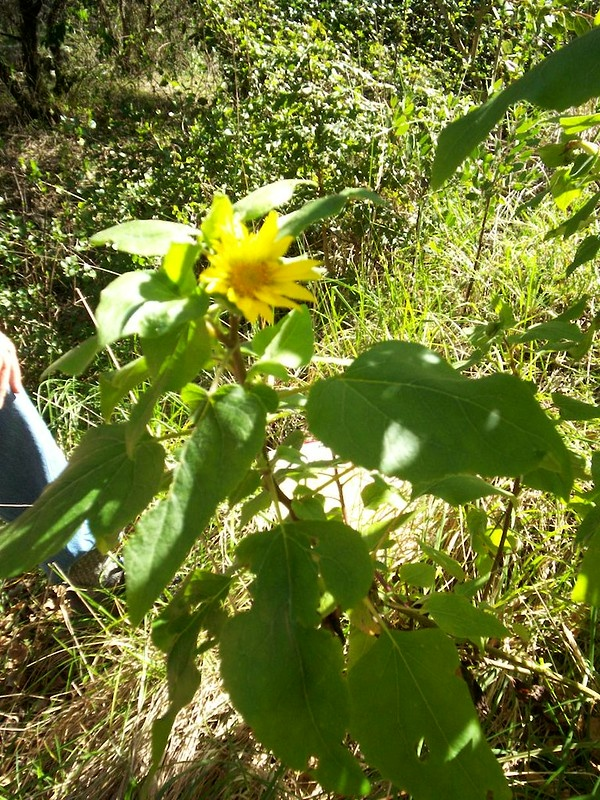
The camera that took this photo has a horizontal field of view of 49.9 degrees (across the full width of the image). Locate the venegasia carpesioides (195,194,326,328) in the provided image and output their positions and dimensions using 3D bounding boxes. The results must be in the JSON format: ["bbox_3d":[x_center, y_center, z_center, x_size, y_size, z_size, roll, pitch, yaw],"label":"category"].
[{"bbox_3d":[-0.053,-0.194,0.866,0.147,0.145,0.130,8,28,11],"label":"venegasia carpesioides"}]
